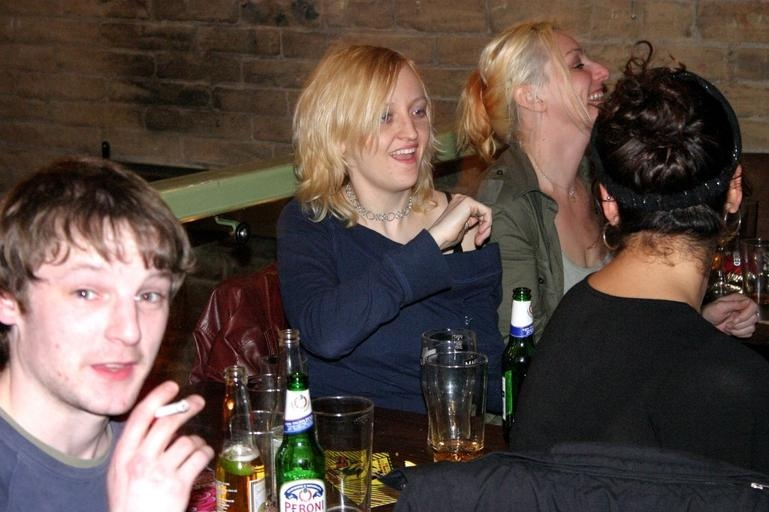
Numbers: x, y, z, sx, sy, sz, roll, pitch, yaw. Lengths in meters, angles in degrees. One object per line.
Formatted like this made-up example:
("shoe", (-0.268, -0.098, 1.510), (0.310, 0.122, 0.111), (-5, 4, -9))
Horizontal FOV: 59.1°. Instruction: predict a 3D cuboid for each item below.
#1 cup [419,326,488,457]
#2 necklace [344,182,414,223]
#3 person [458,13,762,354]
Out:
("cup", (0.187, 0.361, 1.813), (0.176, 0.323, 0.153), (-1, -5, 3))
("necklace", (-0.016, -0.172, 2.393), (0.176, 0.046, 0.217), (1, -16, 5))
("person", (0.728, -0.412, 3.015), (1.227, 1.430, 1.086), (-4, 22, 12))
